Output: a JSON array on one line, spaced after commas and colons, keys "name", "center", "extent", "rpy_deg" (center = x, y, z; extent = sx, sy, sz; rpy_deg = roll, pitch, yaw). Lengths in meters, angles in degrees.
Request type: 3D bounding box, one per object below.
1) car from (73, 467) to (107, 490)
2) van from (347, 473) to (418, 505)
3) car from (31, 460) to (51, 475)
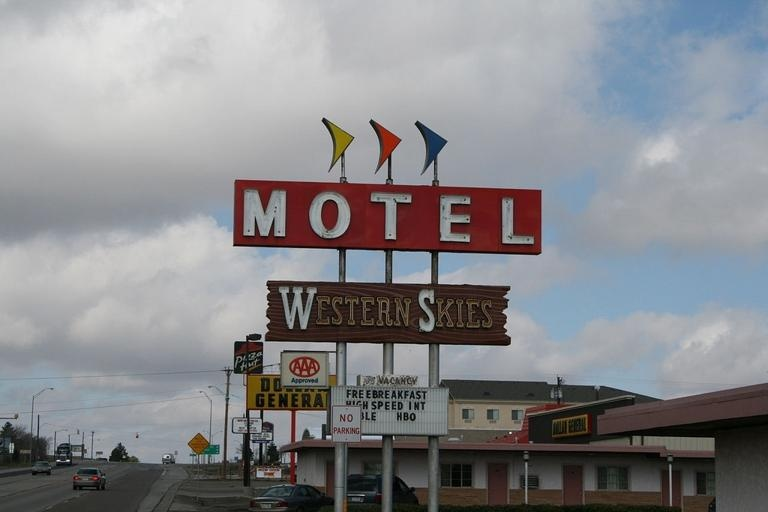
[{"name": "car", "center": [-23.055, 17.695, 114.196], "extent": [1.345, 1.082, 3.160], "rpy_deg": [1, -2, -2]}, {"name": "van", "center": [-0.315, 15.297, 94.397], "extent": [4.128, 2.143, 2.485], "rpy_deg": [-1, -14, -2]}, {"name": "car", "center": [-33.793, 21.211, 143.705], "extent": [1.309, 1.067, 2.371], "rpy_deg": [0, -15, -6]}]
